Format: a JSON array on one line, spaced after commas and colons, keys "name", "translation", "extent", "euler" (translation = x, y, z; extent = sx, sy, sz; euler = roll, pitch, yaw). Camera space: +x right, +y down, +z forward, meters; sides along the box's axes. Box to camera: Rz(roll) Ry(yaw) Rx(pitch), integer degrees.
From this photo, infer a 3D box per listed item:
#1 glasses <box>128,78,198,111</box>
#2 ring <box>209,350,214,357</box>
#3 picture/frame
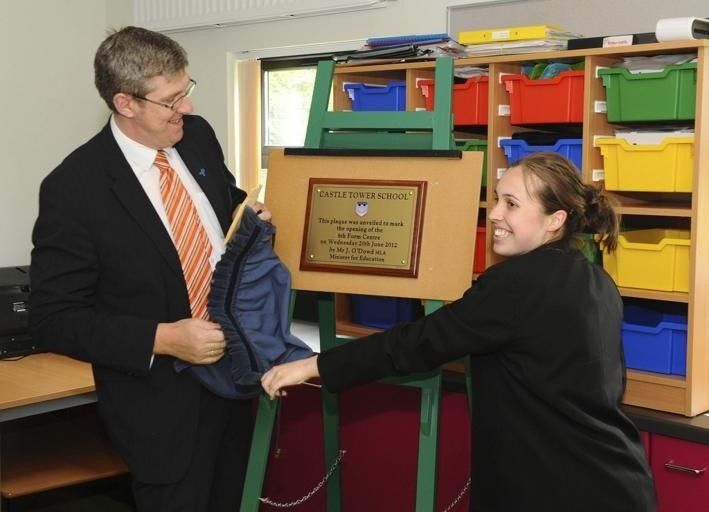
[{"name": "glasses", "translation": [-0.626, -0.502, 1.837], "extent": [0.147, 0.133, 0.038], "euler": [9, -13, 4]}, {"name": "ring", "translation": [-0.449, 0.306, 1.778], "extent": [0.026, 0.022, 0.006], "euler": [0, 7, -14]}, {"name": "picture/frame", "translation": [0.049, -0.090, 2.049], "extent": [0.379, 0.294, 0.027], "euler": [4, -8, 18]}]
